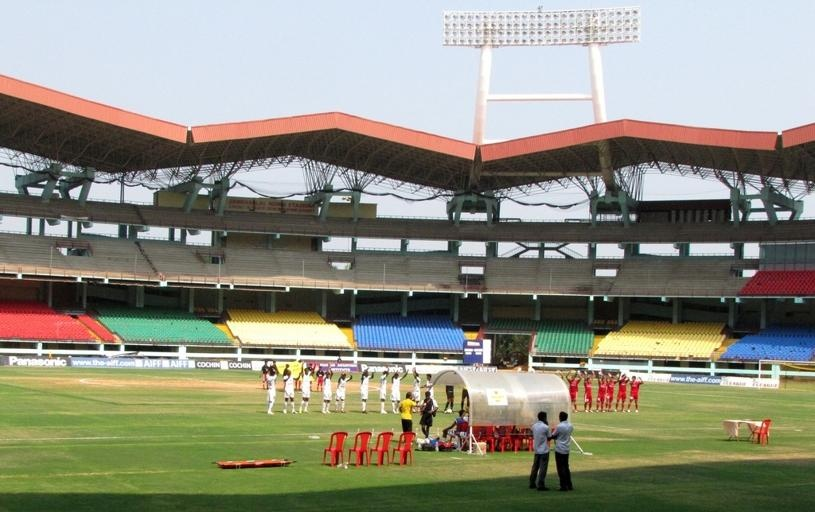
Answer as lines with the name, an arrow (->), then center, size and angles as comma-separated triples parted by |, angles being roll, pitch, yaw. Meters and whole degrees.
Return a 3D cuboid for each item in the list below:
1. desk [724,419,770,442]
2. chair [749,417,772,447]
desk -> 22.762, 11.839, 98.464 | 2.174, 0.916, 2.474 | 2, -5, -15
chair -> 23.606, 11.934, 97.605 | 1.139, 1.736, 1.772 | -2, -11, 10
